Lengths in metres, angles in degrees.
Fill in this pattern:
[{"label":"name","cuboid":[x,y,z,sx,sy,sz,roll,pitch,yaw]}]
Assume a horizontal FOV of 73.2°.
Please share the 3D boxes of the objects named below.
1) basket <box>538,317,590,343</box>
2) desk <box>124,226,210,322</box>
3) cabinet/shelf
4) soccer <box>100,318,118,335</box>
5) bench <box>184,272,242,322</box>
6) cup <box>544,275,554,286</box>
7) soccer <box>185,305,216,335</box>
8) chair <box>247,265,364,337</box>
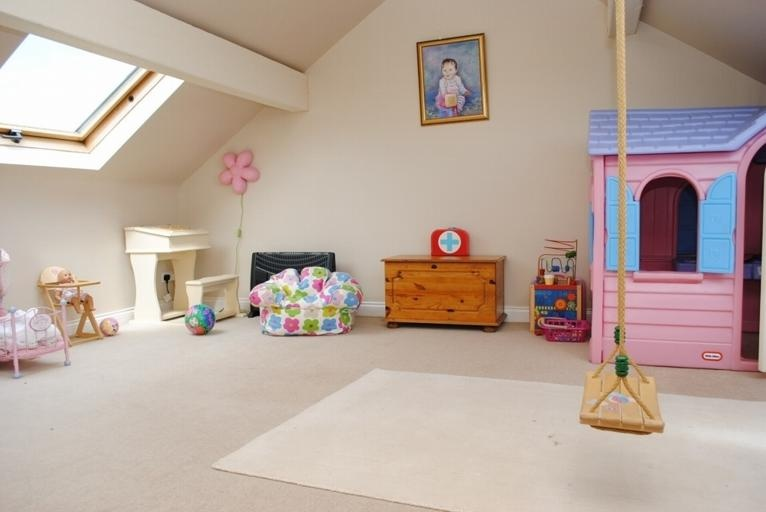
[{"label":"basket","cuboid":[1.889,0.769,5.352,0.369,0.146,0.277,-1,2,15]},{"label":"desk","cuboid":[-2.744,0.216,6.598,0.696,1.199,0.776,-2,1,30]},{"label":"cabinet/shelf","cuboid":[0.682,0.436,6.042,1.260,0.790,0.716,1,1,13]},{"label":"soccer","cuboid":[-3.085,0.807,5.843,0.117,0.137,0.119,-26,9,18]},{"label":"bench","cuboid":[-2.155,0.549,6.509,0.437,0.471,0.641,-3,4,35]},{"label":"cup","cuboid":[1.800,0.258,5.573,0.100,0.089,0.101,1,-2,0]},{"label":"soccer","cuboid":[-2.071,0.729,5.872,0.306,0.327,0.236,-2,1,-12]},{"label":"chair","cuboid":[-0.852,0.518,5.828,1.161,0.643,0.292,-2,1,4]}]
